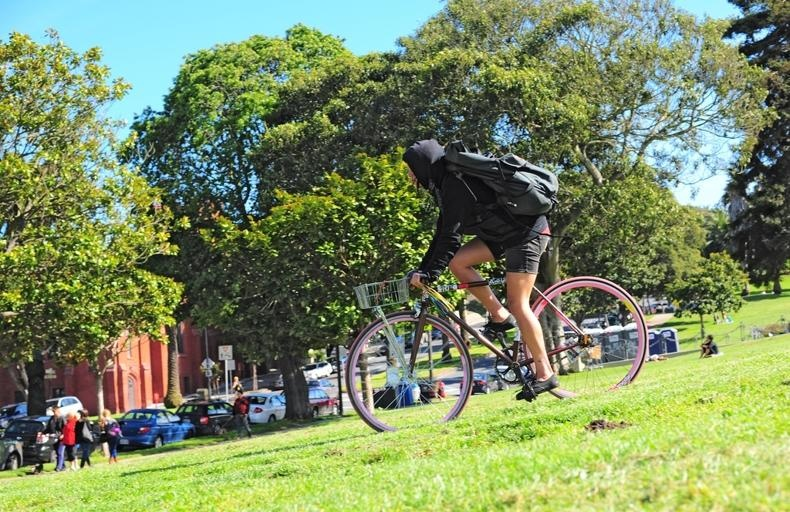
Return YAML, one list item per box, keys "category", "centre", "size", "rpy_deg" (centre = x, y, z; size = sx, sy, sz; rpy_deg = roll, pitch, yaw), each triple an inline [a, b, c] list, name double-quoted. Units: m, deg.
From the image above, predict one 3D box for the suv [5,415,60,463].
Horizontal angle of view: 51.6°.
- category: "suv"
  centre: [-14.580, 7.452, 33.380]
  size: [1.465, 1.224, 2.483]
  rpy_deg: [-1, 0, 0]

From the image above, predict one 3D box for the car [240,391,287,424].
- category: "car"
  centre: [-6.903, 8.312, 45.040]
  size: [1.216, 0.840, 2.666]
  rpy_deg: [-1, -1, 24]

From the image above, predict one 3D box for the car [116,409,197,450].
- category: "car"
  centre: [-11.073, 7.980, 37.912]
  size: [1.152, 1.729, 2.866]
  rpy_deg: [-16, -13, 31]

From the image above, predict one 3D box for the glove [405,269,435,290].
- category: "glove"
  centre: [0.477, 0.444, 16.022]
  size: [0.299, 0.209, 0.511]
  rpy_deg: [-3, -4, 41]

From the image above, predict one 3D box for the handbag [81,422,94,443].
- category: "handbag"
  centre: [-11.721, 6.767, 31.372]
  size: [0.210, 0.786, 0.421]
  rpy_deg: [-14, -12, 24]
